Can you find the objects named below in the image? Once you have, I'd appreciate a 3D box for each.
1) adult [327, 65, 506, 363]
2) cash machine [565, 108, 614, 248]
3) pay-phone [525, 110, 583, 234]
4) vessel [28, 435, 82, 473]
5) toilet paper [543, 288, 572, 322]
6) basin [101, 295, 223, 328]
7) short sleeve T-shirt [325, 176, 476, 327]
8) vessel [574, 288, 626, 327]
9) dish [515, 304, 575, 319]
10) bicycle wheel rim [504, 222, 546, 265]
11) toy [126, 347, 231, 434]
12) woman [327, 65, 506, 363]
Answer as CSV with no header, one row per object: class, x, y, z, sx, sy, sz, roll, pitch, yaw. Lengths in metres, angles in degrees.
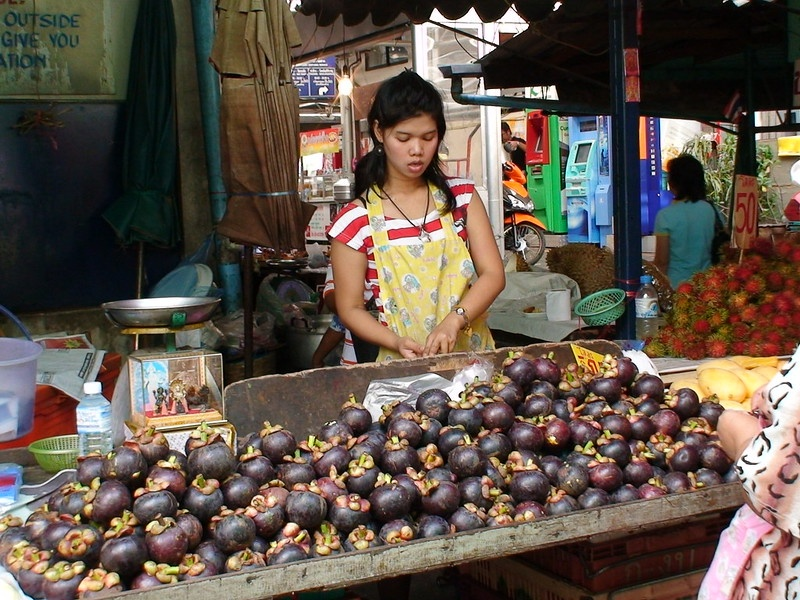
adult,0.064,-0.401,2.785,0.746,1.162,0.401,-3,9,10
cash machine,3.105,-1.984,10.313,0.440,2.085,1.068,-6,9,-8
pay-phone,2.859,-2.523,11.888,0.947,2.226,0.797,-13,15,-34
vessel,-1.096,0.494,1.986,0.141,0.059,0.140,0,0,-29
toilet paper,1.064,0.032,4.152,0.222,0.213,0.140,0,-1,17
basin,-1.097,0.059,2.860,0.424,0.141,0.388,-5,9,1
short sleeve T-shirt,0.030,-0.211,2.764,0.585,0.552,0.298,-11,9,-10
vessel,1.118,0.052,3.477,0.235,0.239,0.231,-7,9,-12
dish,1.012,0.085,4.200,0.249,0.090,0.149,-1,3,4
bicycle wheel rim,1.969,-0.886,10.345,0.872,0.936,0.164,1,-30,17
toy,-0.812,0.323,2.261,0.313,0.259,0.178,0,2,-28
woman,0.064,-0.401,2.785,0.746,1.162,0.401,-3,9,10
